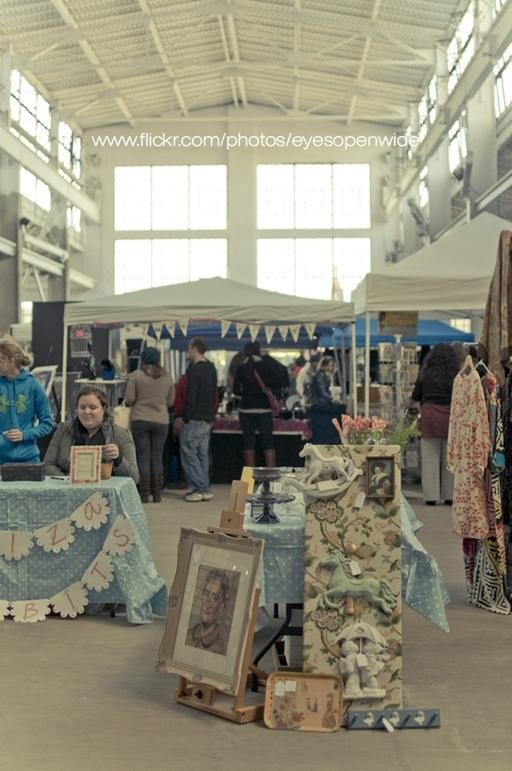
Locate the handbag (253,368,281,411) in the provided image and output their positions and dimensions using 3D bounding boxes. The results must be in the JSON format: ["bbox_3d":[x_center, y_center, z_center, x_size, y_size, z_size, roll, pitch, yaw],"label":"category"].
[{"bbox_3d":[0.127,0.054,7.464,0.284,0.439,0.128,0,2,-13],"label":"handbag"}]

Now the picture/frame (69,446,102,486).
[{"bbox_3d":[-0.768,0.367,3.222,0.175,0.197,0.021,2,-3,-6],"label":"picture/frame"}]

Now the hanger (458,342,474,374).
[{"bbox_3d":[1.861,-0.261,6.330,0.168,0.238,0.382,2,2,19],"label":"hanger"}]

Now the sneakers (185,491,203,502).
[{"bbox_3d":[-0.595,1.069,6.808,0.178,0.072,0.138,1,2,9],"label":"sneakers"}]

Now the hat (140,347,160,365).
[{"bbox_3d":[-1.022,-0.291,6.921,0.170,0.171,0.211,1,2,-10],"label":"hat"}]

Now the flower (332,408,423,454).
[{"bbox_3d":[0.833,0.297,4.779,0.722,0.347,0.725,-5,-5,22],"label":"flower"}]

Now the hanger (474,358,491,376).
[{"bbox_3d":[1.131,-0.091,3.542,0.023,0.077,0.079,-17,-7,42],"label":"hanger"}]
